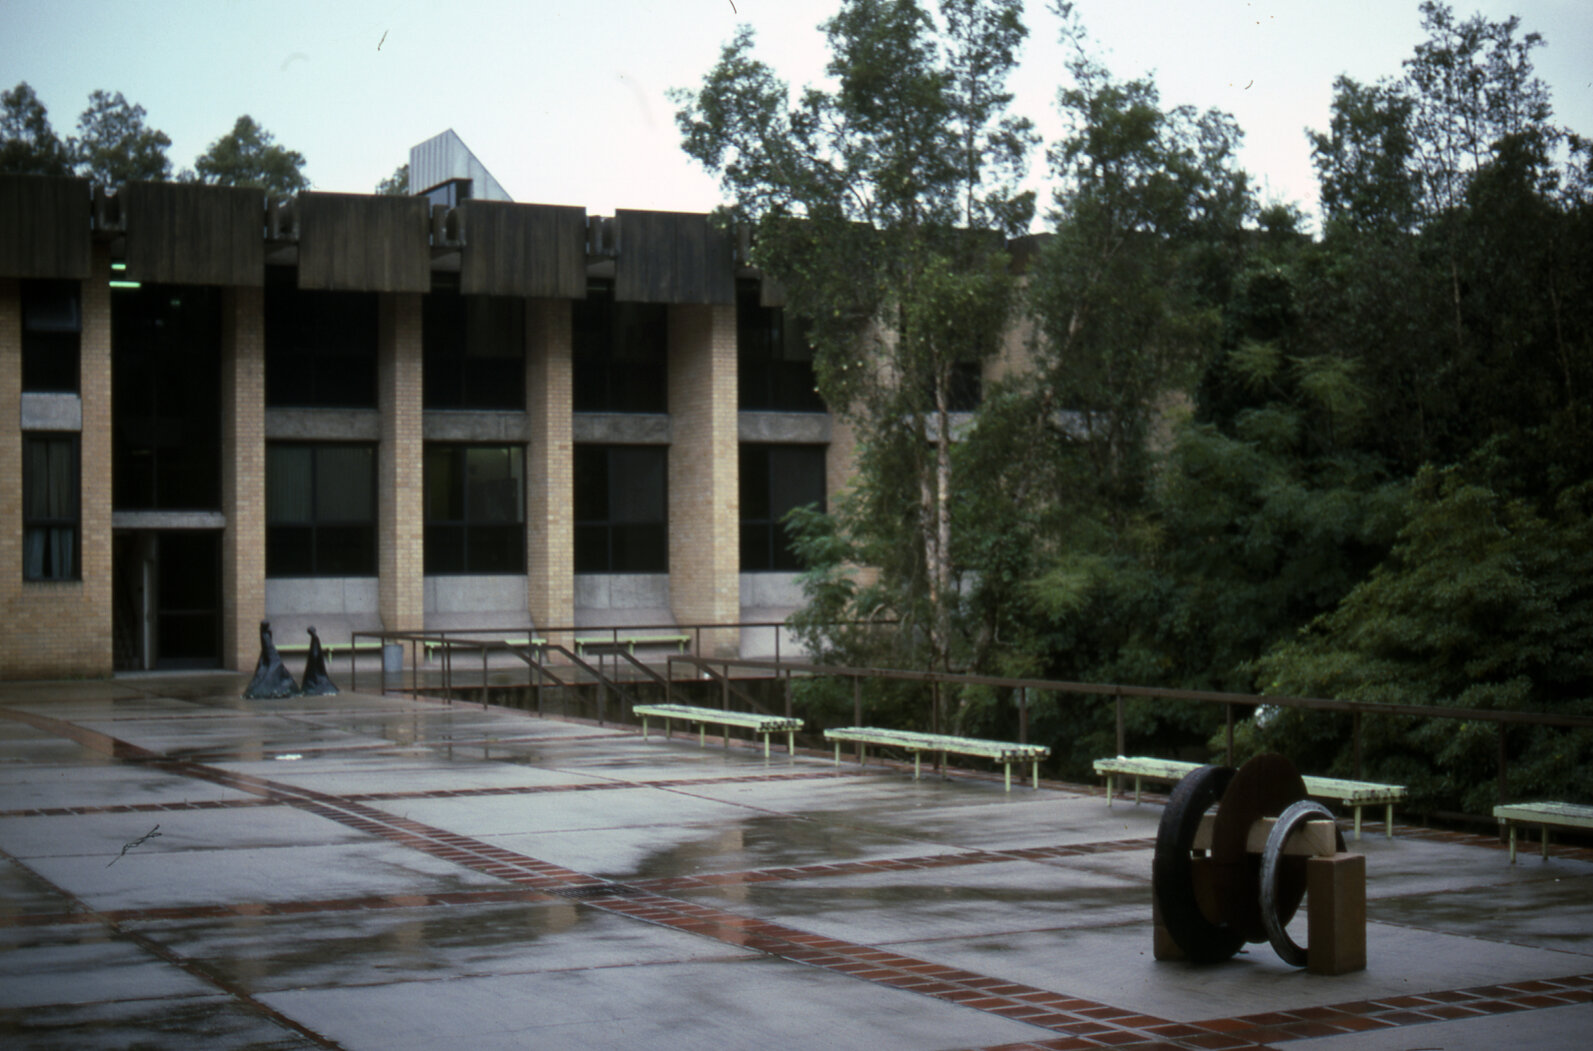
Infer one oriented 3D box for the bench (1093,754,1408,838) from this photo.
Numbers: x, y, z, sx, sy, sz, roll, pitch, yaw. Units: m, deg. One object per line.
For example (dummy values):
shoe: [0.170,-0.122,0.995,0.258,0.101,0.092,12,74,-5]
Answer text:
bench: [4.806,2.851,18.422,0.750,0.580,2.884,-2,0,-32]
